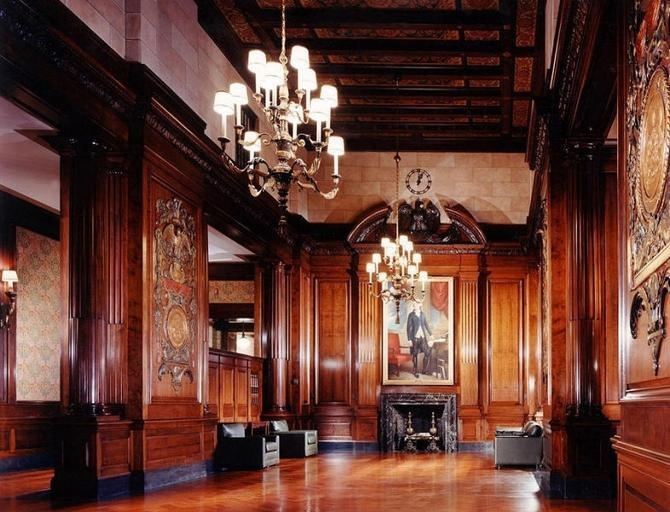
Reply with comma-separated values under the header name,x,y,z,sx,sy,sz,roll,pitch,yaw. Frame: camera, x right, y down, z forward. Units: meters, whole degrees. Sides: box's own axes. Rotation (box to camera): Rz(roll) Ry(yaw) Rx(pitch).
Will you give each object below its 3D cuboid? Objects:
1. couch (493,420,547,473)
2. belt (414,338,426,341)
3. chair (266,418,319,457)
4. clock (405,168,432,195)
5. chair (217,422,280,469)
name,x,y,z,sx,sy,sz,roll,pitch,yaw
couch,3.629,3.789,11.952,0.895,0.868,1.381,-7,-16,15
belt,2.278,2.260,16.157,0.244,0.104,0.028,-6,-13,8
chair,-0.896,4.284,13.851,0.802,0.998,0.980,-3,-11,12
clock,2.281,-2.020,16.309,0.558,0.706,0.034,2,3,0
chair,-1.619,3.662,11.373,0.789,1.016,1.285,-7,-16,4
